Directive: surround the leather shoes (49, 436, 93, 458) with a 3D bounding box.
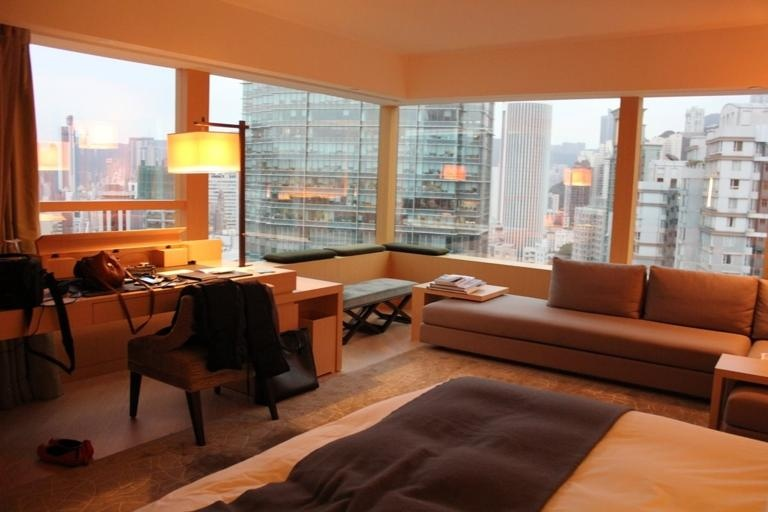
[{"bbox_3d":[-2.156,1.309,3.719,0.359,0.108,0.121,5,3,12],"label":"leather shoes"}]

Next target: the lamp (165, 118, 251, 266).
[{"bbox_3d":[-1.629,-0.572,5.043,0.672,1.359,0.661,-1,9,0],"label":"lamp"}]

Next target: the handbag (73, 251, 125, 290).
[{"bbox_3d":[-2.130,0.112,4.098,0.394,0.197,0.283,6,4,29],"label":"handbag"}]

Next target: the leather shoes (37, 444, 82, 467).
[{"bbox_3d":[-2.215,1.350,3.725,0.356,0.118,0.125,6,4,7],"label":"leather shoes"}]

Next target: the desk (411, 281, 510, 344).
[{"bbox_3d":[0.760,0.582,6.089,0.867,0.469,0.809,6,10,34],"label":"desk"}]

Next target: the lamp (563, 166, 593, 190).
[{"bbox_3d":[2.405,-0.965,6.688,0.292,0.175,0.282,1,6,27],"label":"lamp"}]
